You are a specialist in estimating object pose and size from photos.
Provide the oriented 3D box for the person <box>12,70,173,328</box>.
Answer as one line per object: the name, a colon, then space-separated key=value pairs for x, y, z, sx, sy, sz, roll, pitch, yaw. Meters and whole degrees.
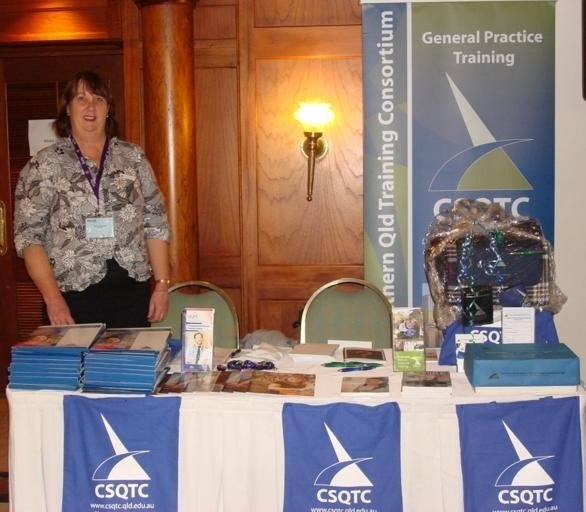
person: x=-0.843 y=-0.232 z=3.155 sx=0.322 sy=1.028 sz=0.626 roll=-3 pitch=0 yaw=43

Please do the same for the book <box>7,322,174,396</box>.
book: x=-0.721 y=0.368 z=2.649 sx=0.375 sy=0.130 sz=0.292 roll=3 pitch=-2 yaw=1

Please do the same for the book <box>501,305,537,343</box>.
book: x=0.831 y=0.254 z=2.735 sx=0.132 sy=0.125 sz=0.030 roll=0 pitch=5 yaw=8

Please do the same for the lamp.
lamp: x=0.131 y=-0.636 z=4.447 sx=0.240 sy=0.592 sz=0.221 roll=-3 pitch=0 yaw=15
